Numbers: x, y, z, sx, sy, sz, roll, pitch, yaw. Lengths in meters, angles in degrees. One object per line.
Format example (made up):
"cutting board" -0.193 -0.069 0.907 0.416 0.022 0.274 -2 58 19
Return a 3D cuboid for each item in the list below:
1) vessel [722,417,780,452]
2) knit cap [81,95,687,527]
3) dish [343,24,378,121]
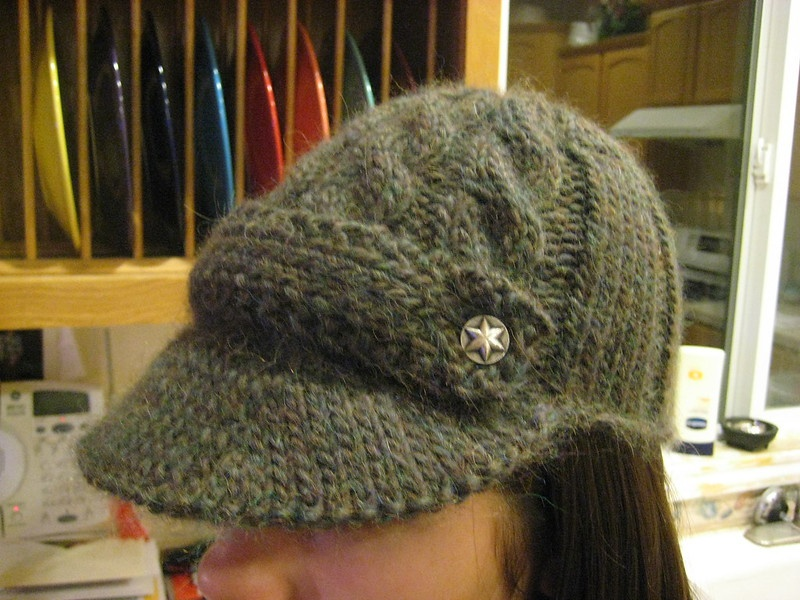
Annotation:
"vessel" 0.886 0.339 2.392 0.134 0.091 0.117 -8 -11 31
"knit cap" 0.012 0.052 1.348 0.657 0.464 0.561 -5 12 -24
"dish" -0.093 -0.452 1.965 0.023 0.168 0.175 0 46 -16
